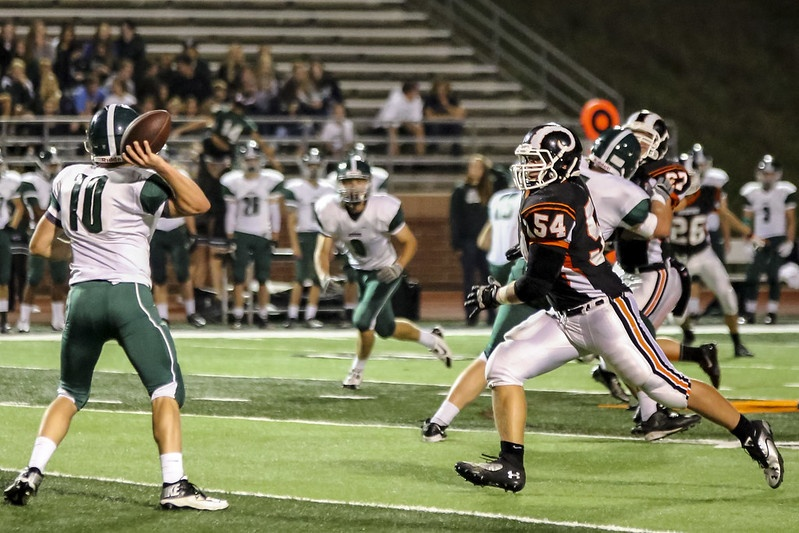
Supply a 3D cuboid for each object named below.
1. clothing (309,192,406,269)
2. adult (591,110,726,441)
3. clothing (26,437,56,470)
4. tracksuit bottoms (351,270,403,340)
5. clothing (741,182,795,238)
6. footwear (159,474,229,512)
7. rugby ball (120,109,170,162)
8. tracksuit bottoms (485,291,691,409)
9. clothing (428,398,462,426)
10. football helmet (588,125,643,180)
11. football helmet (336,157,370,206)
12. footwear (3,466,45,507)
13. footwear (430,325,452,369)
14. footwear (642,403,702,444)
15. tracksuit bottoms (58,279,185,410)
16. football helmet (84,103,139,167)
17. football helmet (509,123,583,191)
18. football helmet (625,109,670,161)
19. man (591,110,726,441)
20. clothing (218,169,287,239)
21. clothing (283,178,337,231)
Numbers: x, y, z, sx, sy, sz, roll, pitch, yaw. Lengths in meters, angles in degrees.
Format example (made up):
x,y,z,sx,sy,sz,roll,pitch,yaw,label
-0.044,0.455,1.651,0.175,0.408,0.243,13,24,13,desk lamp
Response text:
x,y,z,sx,sy,sz,roll,pitch,yaw,label
-0.405,-0.329,10.427,0.835,0.456,0.804,-8,-43,21,clothing
1.830,0.181,9.057,1.115,1.995,0.710,8,-22,-29,adult
-2.233,1.174,7.098,0.180,0.257,0.152,-1,8,-8,clothing
-0.229,0.356,10.413,0.275,0.475,0.806,-21,-3,-3,tracksuit bottoms
5.018,-0.754,15.546,0.792,0.777,0.434,-1,-2,17,clothing
-1.319,1.431,7.155,0.486,0.234,0.176,2,-3,-6,footwear
-1.584,-0.841,7.116,0.322,0.225,0.206,-35,1,-2,rugby ball
1.232,0.483,7.556,1.149,0.549,0.738,18,-8,-12,tracksuit bottoms
0.318,1.045,8.179,0.138,0.173,0.224,39,3,0,clothing
1.550,-0.859,8.403,0.406,0.350,0.308,28,15,-8,football helmet
-0.404,-0.760,9.886,0.280,0.393,0.412,0,2,-1,football helmet
-2.320,1.359,7.073,0.205,0.256,0.111,44,-33,-13,footwear
0.386,0.810,11.230,0.145,0.439,0.194,-32,-3,6,footwear
1.920,1.139,8.370,0.505,0.247,0.179,-17,-3,5,footwear
-1.990,0.594,7.998,1.050,1.031,0.498,1,5,2,tracksuit bottoms
-1.846,-0.857,7.321,0.348,0.396,0.464,-3,7,-9,football helmet
0.985,-0.750,7.607,0.512,0.420,0.405,-7,8,-15,football helmet
1.931,-1.061,9.153,0.352,0.389,0.463,21,12,22,football helmet
1.875,0.010,8.875,1.392,2.291,0.864,8,-16,-13,man
-1.882,-0.717,14.416,0.785,0.954,0.358,-1,-26,-6,clothing
-1.171,-0.792,14.685,0.640,0.633,0.241,-5,9,-25,clothing
